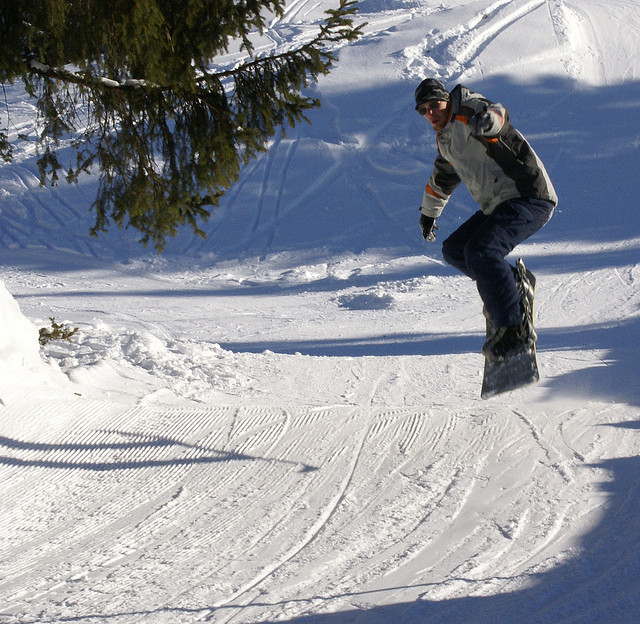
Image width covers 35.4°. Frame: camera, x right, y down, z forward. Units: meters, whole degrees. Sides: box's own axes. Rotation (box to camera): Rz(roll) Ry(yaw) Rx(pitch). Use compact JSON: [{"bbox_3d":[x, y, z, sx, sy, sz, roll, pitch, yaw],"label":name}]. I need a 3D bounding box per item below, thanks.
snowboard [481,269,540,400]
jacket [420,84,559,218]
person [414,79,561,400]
[{"bbox_3d":[1.857,0.380,10.046,0.448,0.993,0.161,-8,-9,21],"label":"snowboard"},{"bbox_3d":[1.703,-1.576,9.850,1.136,1.287,0.703,3,5,11],"label":"jacket"},{"bbox_3d":[1.678,-0.715,9.966,1.261,3.123,0.794,3,5,11],"label":"person"}]
